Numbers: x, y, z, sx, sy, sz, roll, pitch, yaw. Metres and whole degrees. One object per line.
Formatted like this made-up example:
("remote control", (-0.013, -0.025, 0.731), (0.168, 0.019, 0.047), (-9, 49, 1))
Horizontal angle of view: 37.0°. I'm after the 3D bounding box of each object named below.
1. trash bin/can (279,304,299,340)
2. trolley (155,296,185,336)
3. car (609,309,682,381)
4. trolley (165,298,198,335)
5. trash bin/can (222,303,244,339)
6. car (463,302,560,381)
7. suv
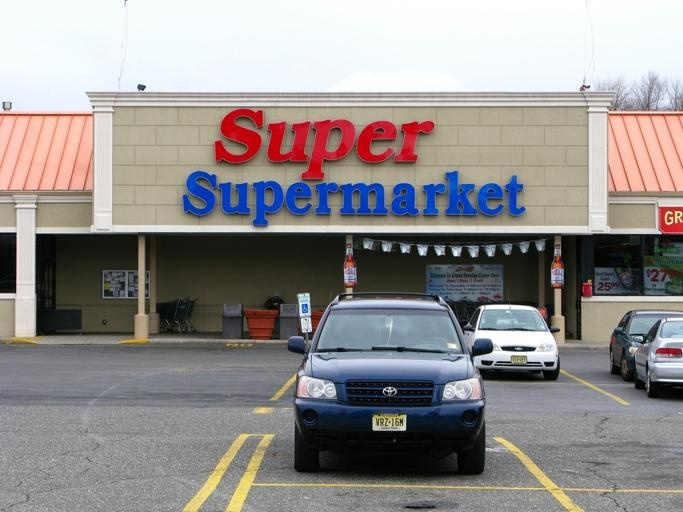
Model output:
("trash bin/can", (-1.888, 2.311, 35.291), (0.832, 1.195, 0.845), (1, -3, 5))
("trolley", (-6.557, 2.220, 37.815), (1.463, 1.523, 1.094), (0, 3, -8))
("car", (7.319, 2.143, 25.121), (1.151, 1.095, 2.328), (0, 3, 1))
("trolley", (-6.161, 2.260, 37.862), (1.413, 1.304, 0.841), (-2, -2, 36))
("trash bin/can", (-3.769, 2.285, 35.332), (0.686, 1.157, 0.314), (-1, -3, 0))
("car", (4.383, 2.189, 25.977), (1.577, 1.261, 2.758), (0, -9, 2))
("suv", (0.730, 1.763, 15.437), (1.934, 1.747, 3.327), (-1, -11, 1))
